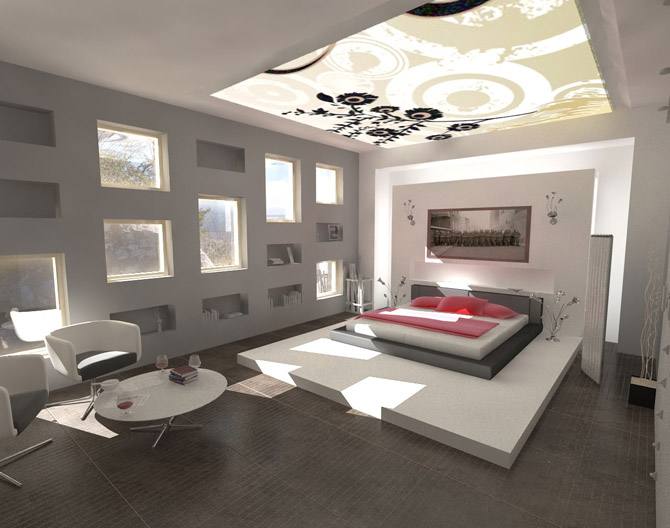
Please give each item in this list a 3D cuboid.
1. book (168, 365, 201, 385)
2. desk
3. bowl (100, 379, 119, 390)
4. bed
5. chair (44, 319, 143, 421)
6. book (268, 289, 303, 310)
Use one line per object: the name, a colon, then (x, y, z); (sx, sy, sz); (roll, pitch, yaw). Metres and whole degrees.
book: (-1.620, 1.184, 4.579); (0.184, 0.073, 0.227); (3, 0, 19)
desk: (-1.819, 1.346, 4.347); (0.892, 0.369, 1.032); (4, 8, 30)
bowl: (-2.266, 1.210, 4.329); (0.127, 0.071, 0.126); (1, 6, 0)
bed: (1.693, 0.949, 6.940); (2.527, 0.761, 2.647); (0, 4, 38)
chair: (-2.974, 1.255, 5.242); (0.800, 0.928, 0.804); (6, 12, 34)
book: (-0.964, 0.655, 8.200); (0.274, 0.299, 0.768); (0, 5, 39)
